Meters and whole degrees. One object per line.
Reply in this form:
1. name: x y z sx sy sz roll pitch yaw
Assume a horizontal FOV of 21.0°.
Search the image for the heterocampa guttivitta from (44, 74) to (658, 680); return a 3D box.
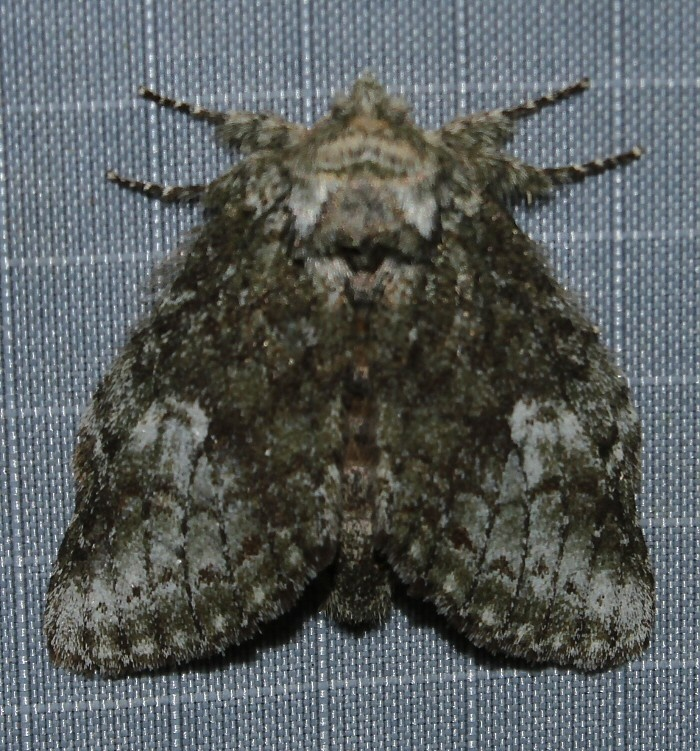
1. heterocampa guttivitta: -0.003 0.016 3.144 1.002 0.185 0.943 -1 84 0
